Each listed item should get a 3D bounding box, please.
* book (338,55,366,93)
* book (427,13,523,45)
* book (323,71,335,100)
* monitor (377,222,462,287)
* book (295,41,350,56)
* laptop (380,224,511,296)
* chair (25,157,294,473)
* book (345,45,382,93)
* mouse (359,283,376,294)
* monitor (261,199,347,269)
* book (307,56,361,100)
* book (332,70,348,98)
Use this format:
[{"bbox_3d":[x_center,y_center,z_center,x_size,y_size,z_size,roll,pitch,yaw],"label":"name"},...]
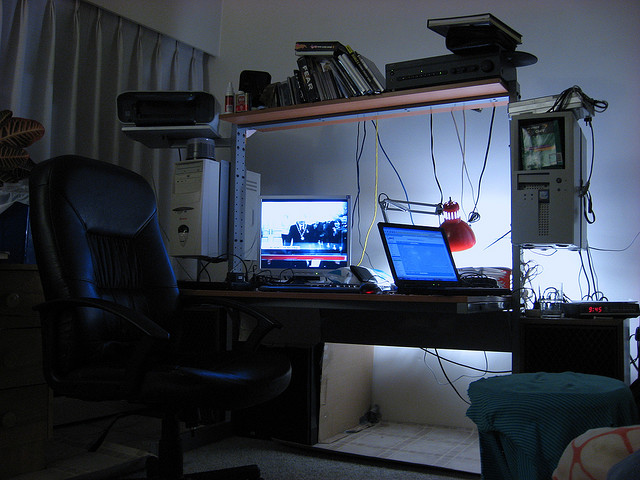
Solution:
[{"bbox_3d":[0.161,-0.808,2.651,0.032,0.224,0.039,-42,-3,14],"label":"book"},{"bbox_3d":[0.626,-0.963,2.448,0.219,0.043,0.207,2,13,39],"label":"book"},{"bbox_3d":[0.044,-0.773,2.710,0.022,0.153,0.031,-17,5,-11],"label":"book"},{"bbox_3d":[0.456,0.127,2.536,0.390,0.233,0.298,2,-7,-37],"label":"monitor"},{"bbox_3d":[0.008,-0.956,2.722,0.176,0.041,0.175,4,10,7],"label":"book"},{"bbox_3d":[0.569,0.079,2.429,0.542,0.305,0.434,3,-3,-33],"label":"laptop"},{"bbox_3d":[-0.618,0.165,2.066,0.828,0.952,0.592,1,2,19],"label":"chair"},{"bbox_3d":[0.207,-0.830,2.641,0.178,0.234,0.032,1,2,21],"label":"book"},{"bbox_3d":[0.204,0.201,2.306,0.066,0.036,0.033,1,2,2],"label":"mouse"},{"bbox_3d":[-0.067,-0.029,3.009,0.384,0.306,0.037,0,-4,8],"label":"monitor"},{"bbox_3d":[0.055,-0.816,2.702,0.184,0.232,0.085,-16,0,34],"label":"book"},{"bbox_3d":[0.096,-0.768,2.676,0.012,0.141,0.032,-22,-5,-30],"label":"book"}]
